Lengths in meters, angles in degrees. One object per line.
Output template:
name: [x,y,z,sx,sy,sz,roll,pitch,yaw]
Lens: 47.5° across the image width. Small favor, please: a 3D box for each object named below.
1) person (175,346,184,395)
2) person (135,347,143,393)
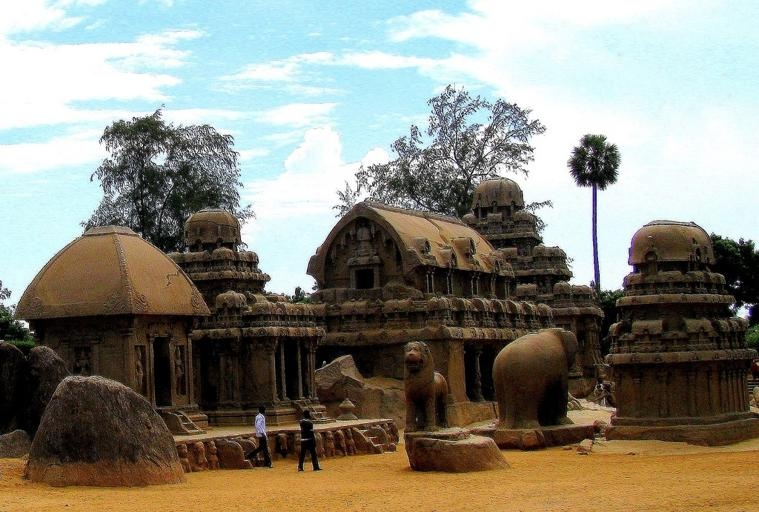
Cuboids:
person: [-5.737,3.271,24.659,0.163,1.358,0.441,-3,-6,7]
person: [-6.408,3.038,22.982,0.112,1.167,0.356,-3,-6,3]
